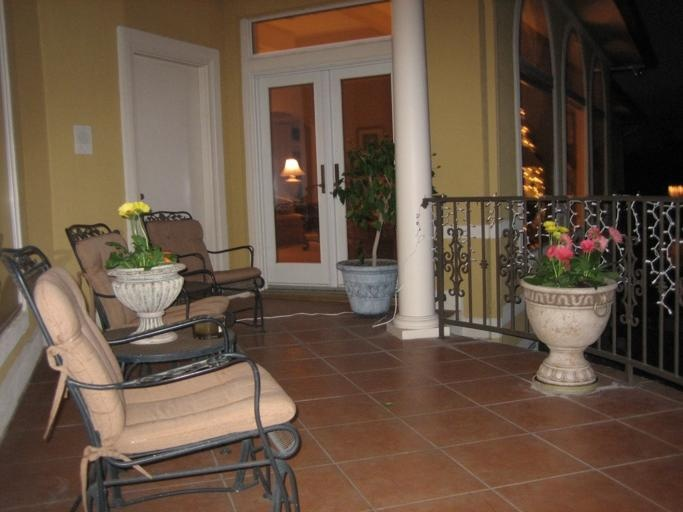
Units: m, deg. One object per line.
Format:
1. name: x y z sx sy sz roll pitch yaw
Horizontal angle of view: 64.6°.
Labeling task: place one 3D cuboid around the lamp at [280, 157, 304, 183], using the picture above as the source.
1. lamp: -0.621 -1.077 6.795 0.286 0.333 0.300 -4 11 -6

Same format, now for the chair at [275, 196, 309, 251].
1. chair: -0.690 -0.410 6.959 0.391 0.510 0.288 -2 34 -9

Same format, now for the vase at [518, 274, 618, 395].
1. vase: 1.452 0.517 3.714 0.730 0.733 0.675 1 -2 3

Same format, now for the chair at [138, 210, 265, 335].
1. chair: -1.365 0.129 5.363 0.952 1.119 0.796 1 5 20

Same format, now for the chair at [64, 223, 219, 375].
1. chair: -1.327 0.336 3.801 0.967 1.058 0.738 1 13 -3

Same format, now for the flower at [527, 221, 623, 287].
1. flower: 1.510 0.022 3.637 0.523 0.341 0.525 -2 4 -11

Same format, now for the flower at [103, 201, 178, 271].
1. flower: -1.199 -0.109 3.147 0.367 0.389 0.348 8 6 -20

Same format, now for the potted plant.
1. potted plant: 0.256 -0.282 5.677 0.656 1.816 1.141 -4 8 0

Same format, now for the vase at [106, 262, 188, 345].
1. vase: -1.128 0.269 3.180 0.410 0.459 0.434 -2 10 -1
